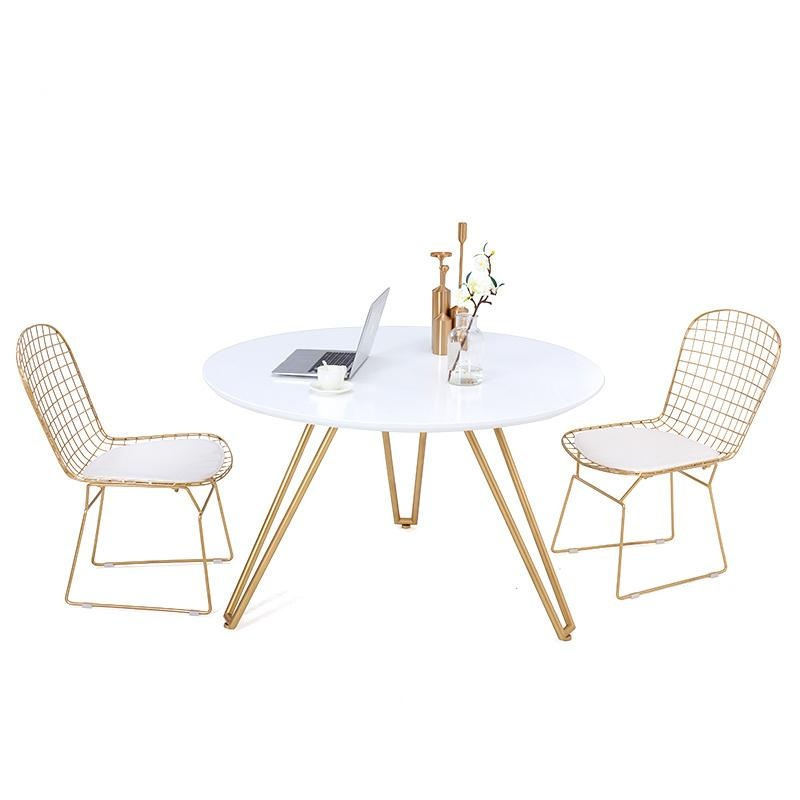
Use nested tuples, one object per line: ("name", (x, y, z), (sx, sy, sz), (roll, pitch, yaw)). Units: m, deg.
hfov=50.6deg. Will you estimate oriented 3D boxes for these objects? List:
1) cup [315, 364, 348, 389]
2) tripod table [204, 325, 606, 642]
("cup", (-0.245, -0.086, 2.932), (0.106, 0.075, 0.066), (-3, -77, -22))
("tripod table", (0.009, 0.321, 3.332), (1.535, 1.428, 0.875), (-7, -74, -30))
